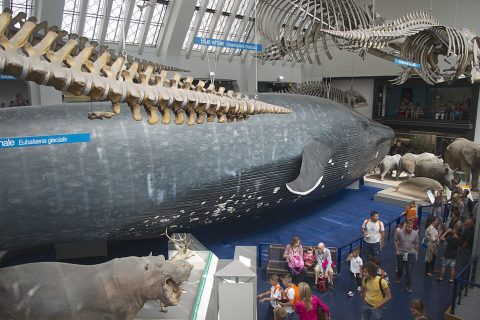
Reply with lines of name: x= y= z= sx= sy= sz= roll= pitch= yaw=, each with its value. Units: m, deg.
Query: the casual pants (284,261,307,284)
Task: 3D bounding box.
casual pants: x=1.459 y=2.940 z=8.707 sx=0.512 sy=0.198 sz=0.535 roll=2 pitch=8 yaw=21

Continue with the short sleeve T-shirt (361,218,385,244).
short sleeve T-shirt: x=3.673 y=1.957 z=9.271 sx=0.607 sy=0.623 sz=0.345 roll=5 pitch=18 yaw=19

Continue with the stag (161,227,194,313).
stag: x=-1.116 y=1.975 z=6.260 sx=0.571 sy=1.072 sz=0.960 roll=-7 pitch=5 yaw=13

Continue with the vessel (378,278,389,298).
vessel: x=3.009 y=2.695 z=7.037 sx=0.188 sy=0.302 sz=0.325 roll=-19 pitch=42 yaw=16

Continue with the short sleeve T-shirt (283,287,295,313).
short sleeve T-shirt: x=1.088 y=3.050 z=7.477 sx=0.313 sy=0.575 sz=0.469 roll=2 pitch=10 yaw=-1

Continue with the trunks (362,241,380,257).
trunks: x=3.626 y=2.442 z=9.272 sx=0.463 sy=0.474 sz=0.280 roll=-2 pitch=2 yaw=-1

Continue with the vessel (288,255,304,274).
vessel: x=1.443 y=2.692 z=8.656 sx=0.341 sy=0.495 sz=0.187 roll=-2 pitch=-4 yaw=16

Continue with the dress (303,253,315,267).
dress: x=1.867 y=2.638 z=9.098 sx=0.392 sy=0.431 sz=0.296 roll=-4 pitch=-9 yaw=19
